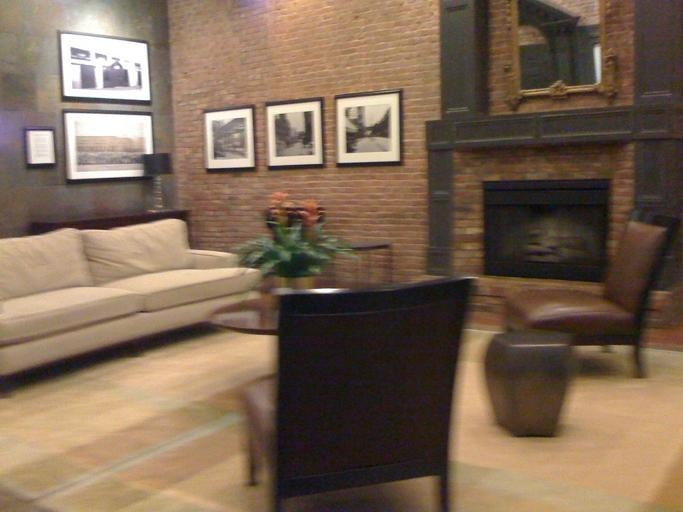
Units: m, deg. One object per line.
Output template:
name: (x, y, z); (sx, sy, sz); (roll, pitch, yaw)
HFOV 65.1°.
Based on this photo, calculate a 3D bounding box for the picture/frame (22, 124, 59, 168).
picture/frame: (-3.220, -1.175, 5.718); (0.119, 0.365, 0.452); (-2, -2, 36)

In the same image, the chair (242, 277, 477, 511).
chair: (0.080, 0.358, 1.913); (0.802, 0.806, 0.791); (-1, 8, -16)

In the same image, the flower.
flower: (-0.280, -0.087, 3.288); (0.897, 0.476, 0.720); (4, 3, -13)

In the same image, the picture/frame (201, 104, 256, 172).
picture/frame: (-1.354, -1.456, 6.550); (1.161, 0.862, 0.073); (2, 7, 26)

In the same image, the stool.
stool: (0.988, 0.690, 2.878); (0.424, 0.507, 0.228); (1, 15, 12)

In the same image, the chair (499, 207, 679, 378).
chair: (1.610, 0.144, 3.500); (0.967, 0.815, 0.527); (-2, 14, -1)

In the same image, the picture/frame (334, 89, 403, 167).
picture/frame: (0.270, -1.345, 5.628); (0.923, 0.716, 0.067); (11, 20, 44)

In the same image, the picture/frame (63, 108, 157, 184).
picture/frame: (-2.744, -1.272, 6.235); (0.084, 0.672, 1.227); (7, 9, 42)
